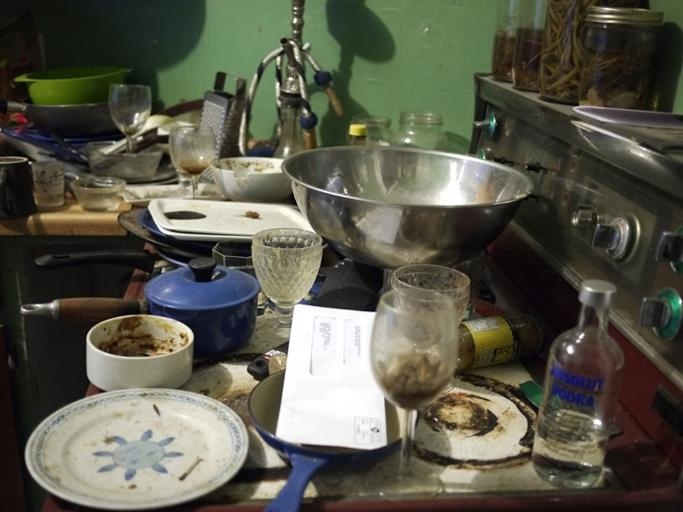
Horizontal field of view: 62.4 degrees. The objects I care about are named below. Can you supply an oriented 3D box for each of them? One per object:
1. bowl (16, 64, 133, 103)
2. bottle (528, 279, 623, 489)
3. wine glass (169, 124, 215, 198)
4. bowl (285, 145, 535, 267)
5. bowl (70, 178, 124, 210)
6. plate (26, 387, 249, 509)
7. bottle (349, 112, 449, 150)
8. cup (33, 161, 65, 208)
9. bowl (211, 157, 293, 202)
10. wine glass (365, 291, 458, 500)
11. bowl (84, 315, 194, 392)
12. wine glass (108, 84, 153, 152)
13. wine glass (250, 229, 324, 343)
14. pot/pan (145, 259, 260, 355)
[{"bbox_3d":[-0.791,-0.472,1.642,0.229,0.068,0.272,5,15,21],"label":"bowl"},{"bbox_3d":[0.288,0.166,0.675,0.090,0.215,0.088,1,24,-1],"label":"bottle"},{"bbox_3d":[-0.358,-0.223,1.344,0.099,0.157,0.074,1,24,-1],"label":"wine glass"},{"bbox_3d":[0.096,-0.086,0.966,0.395,0.132,0.338,-1,24,-6],"label":"bowl"},{"bbox_3d":[-0.592,-0.144,1.387,0.124,0.072,0.125,0,15,0],"label":"bowl"},{"bbox_3d":[-0.244,0.230,0.686,0.258,0.028,0.185,5,24,5],"label":"plate"},{"bbox_3d":[0.184,-0.383,1.691,0.285,0.096,0.241,0,24,-4],"label":"bottle"},{"bbox_3d":[-0.712,-0.174,1.362,0.066,0.100,0.061,9,24,-4],"label":"cup"},{"bbox_3d":[-0.228,-0.183,1.412,0.191,0.103,0.196,2,24,-1],"label":"bowl"},{"bbox_3d":[0.074,0.154,0.652,0.093,0.246,0.107,-2,24,-9],"label":"wine glass"},{"bbox_3d":[-0.298,0.136,0.830,0.130,0.057,0.133,5,11,-1],"label":"bowl"},{"bbox_3d":[-0.581,-0.368,1.499,0.126,0.172,0.099,14,27,26],"label":"wine glass"},{"bbox_3d":[-0.097,0.047,0.973,0.154,0.163,0.158,10,19,17],"label":"wine glass"},{"bbox_3d":[-0.225,0.075,0.931,0.179,0.133,0.186,8,20,21],"label":"pot/pan"}]
